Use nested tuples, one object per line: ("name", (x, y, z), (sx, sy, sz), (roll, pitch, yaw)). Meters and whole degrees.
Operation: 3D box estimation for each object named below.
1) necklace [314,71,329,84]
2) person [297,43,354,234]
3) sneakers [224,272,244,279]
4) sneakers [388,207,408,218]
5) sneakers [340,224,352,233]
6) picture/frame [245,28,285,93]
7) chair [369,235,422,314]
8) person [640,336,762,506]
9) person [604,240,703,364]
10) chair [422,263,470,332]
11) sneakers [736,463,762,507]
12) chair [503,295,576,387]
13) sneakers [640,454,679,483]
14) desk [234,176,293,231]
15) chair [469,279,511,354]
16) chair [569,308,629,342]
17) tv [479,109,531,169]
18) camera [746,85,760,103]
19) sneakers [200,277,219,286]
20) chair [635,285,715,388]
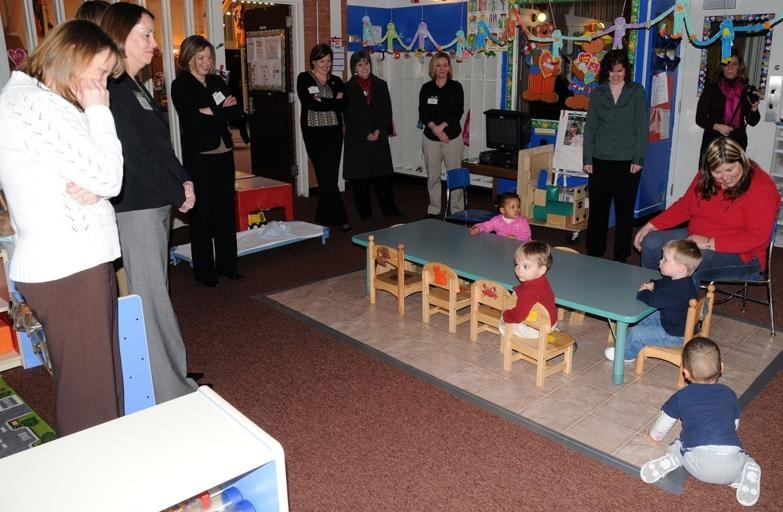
("necklace", (-0.825, -2.114, 6.634), (0.132, 0.069, 0.171), (-6, 16, -32))
("person", (-0.827, -1.405, 6.839), (0.537, 2.189, 0.502), (-3, 20, -6))
("sneakers", (-1.596, 0.194, 5.685), (0.178, 0.045, 0.070), (9, 35, 11))
("sneakers", (0.096, -0.597, 7.652), (0.285, 0.189, 0.093), (1, 28, 5))
("sneakers", (-0.571, -0.349, 7.059), (0.072, 0.055, 0.139), (-27, 29, -36))
("picture/frame", (-1.938, -3.041, 8.679), (0.955, 0.953, 0.099), (19, 26, 41))
("chair", (0.028, 0.161, 5.015), (0.448, 0.626, 0.412), (22, 34, 39))
("person", (1.779, 0.906, 3.114), (0.596, 0.755, 0.506), (10, 23, 29))
("person", (1.881, 0.358, 3.902), (0.396, 0.994, 0.322), (9, 22, 27))
("chair", (0.442, 0.338, 4.616), (0.373, 0.447, 0.377), (20, 33, 38))
("sneakers", (1.935, 1.229, 3.025), (0.114, 0.228, 0.076), (7, -10, 23))
("chair", (1.030, 0.613, 3.964), (0.382, 0.526, 0.417), (-26, 34, -38))
("sneakers", (1.507, 1.193, 3.172), (0.225, 0.121, 0.039), (-36, -15, 5))
("desk", (-1.567, -0.717, 6.563), (0.665, 0.486, 0.650), (-19, 32, -36))
("chair", (0.754, 0.454, 4.251), (0.339, 0.509, 0.303), (22, 44, 34))
("chair", (1.581, 0.531, 4.275), (0.153, 0.172, 0.275), (-18, 27, -41))
("tv", (1.514, -1.566, 7.494), (0.650, 0.703, 0.511), (4, 20, 13))
("camera", (4.200, -1.865, 6.501), (0.155, 0.213, 0.056), (-9, -5, 9))
("sneakers", (-1.789, 0.256, 5.523), (0.164, 0.068, 0.066), (11, 42, 11))
("chair", (1.884, 0.531, 3.743), (0.404, 0.642, 0.368), (-29, 39, -30))
